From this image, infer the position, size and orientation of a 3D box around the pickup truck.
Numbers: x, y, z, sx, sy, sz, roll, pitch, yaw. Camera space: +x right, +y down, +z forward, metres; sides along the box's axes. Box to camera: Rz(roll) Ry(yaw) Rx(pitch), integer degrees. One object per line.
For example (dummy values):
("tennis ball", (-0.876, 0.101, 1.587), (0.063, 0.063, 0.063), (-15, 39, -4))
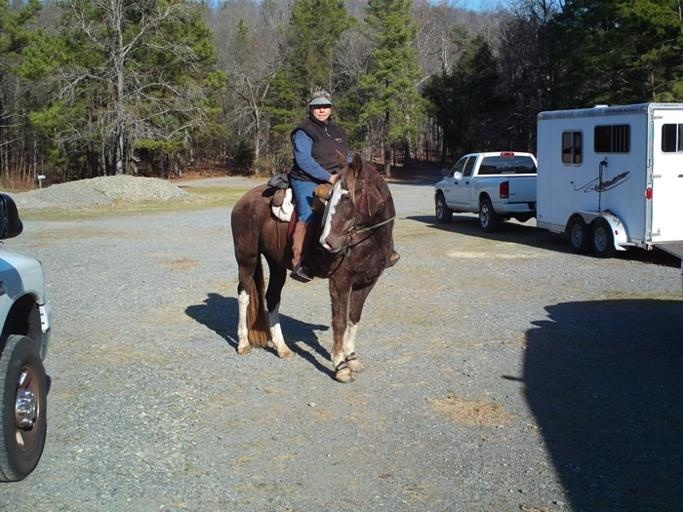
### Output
("pickup truck", (5.156, -2.343, 19.769), (2.536, 2.636, 4.862), (-2, 10, -8))

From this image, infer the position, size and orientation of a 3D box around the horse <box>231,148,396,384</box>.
("horse", (-0.412, 0.092, 6.921), (2.196, 2.684, 0.980), (9, 13, 44))

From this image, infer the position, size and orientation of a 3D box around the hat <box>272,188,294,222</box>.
("hat", (-0.722, -0.634, 6.995), (0.134, 0.409, 0.303), (2, -4, -31))

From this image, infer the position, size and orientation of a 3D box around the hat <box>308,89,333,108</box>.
("hat", (-0.274, -1.945, 6.845), (0.248, 0.226, 0.304), (1, 10, 6))
